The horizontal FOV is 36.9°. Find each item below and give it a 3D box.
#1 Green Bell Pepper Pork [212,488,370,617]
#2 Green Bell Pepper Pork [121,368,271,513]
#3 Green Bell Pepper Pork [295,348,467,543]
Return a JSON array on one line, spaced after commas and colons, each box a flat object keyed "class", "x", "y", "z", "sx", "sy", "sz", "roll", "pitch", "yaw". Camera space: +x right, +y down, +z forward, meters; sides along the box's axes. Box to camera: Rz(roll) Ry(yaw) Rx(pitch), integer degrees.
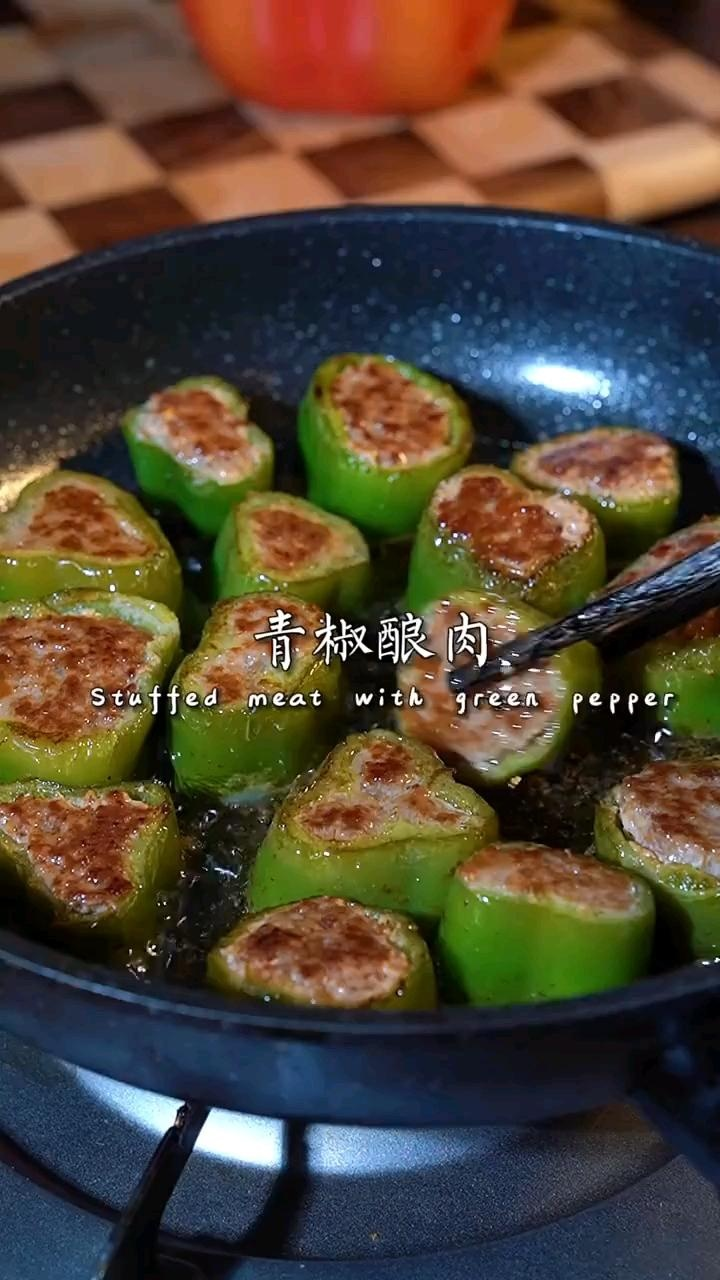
[{"class": "Green Bell Pepper Pork", "x": -0.064, "y": -0.088, "z": 0.925, "sx": 0.132, "sy": 0.097, "sz": 0.109, "roll": -10, "pitch": 24, "yaw": -9}, {"class": "Green Bell Pepper Pork", "x": -0.141, "y": -0.193, "z": 0.988, "sx": 0.120, "sy": 0.123, "sz": 0.099, "roll": -17, "pitch": 25, "yaw": -38}, {"class": "Green Bell Pepper Pork", "x": 0.021, "y": -0.182, "z": 0.967, "sx": 0.127, "sy": 0.169, "sz": 0.157, "roll": 16, "pitch": 29, "yaw": 41}]
